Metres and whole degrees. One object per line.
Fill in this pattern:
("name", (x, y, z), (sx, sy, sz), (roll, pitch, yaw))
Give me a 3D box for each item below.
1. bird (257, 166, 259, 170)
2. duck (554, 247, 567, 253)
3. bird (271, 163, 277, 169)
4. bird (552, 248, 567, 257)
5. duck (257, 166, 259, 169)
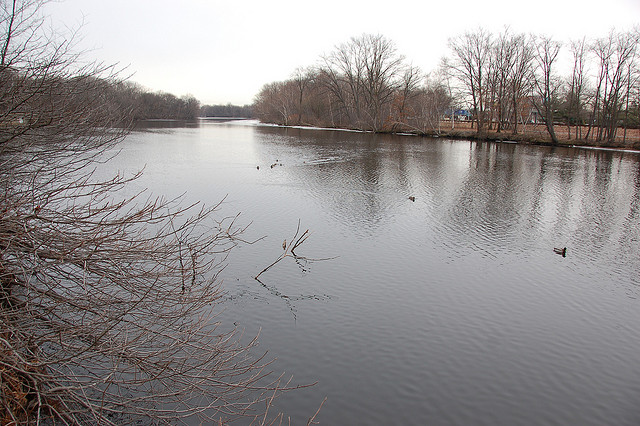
("bird", (-4.228, -3.011, 32.528), (0.210, 0.129, 0.302), (-7, 40, -14))
("duck", (9.135, 1.418, 18.346), (0.504, 0.190, 0.170), (3, 19, 33))
("bird", (-3.261, -3.227, 33.693), (0.505, 0.265, 0.723), (2, -1, 5))
("bird", (9.182, 1.396, 18.448), (0.485, 0.285, 0.656), (6, 15, 26))
("duck", (-4.228, -3.036, 32.595), (0.179, 0.072, 0.235), (4, 26, -2))
